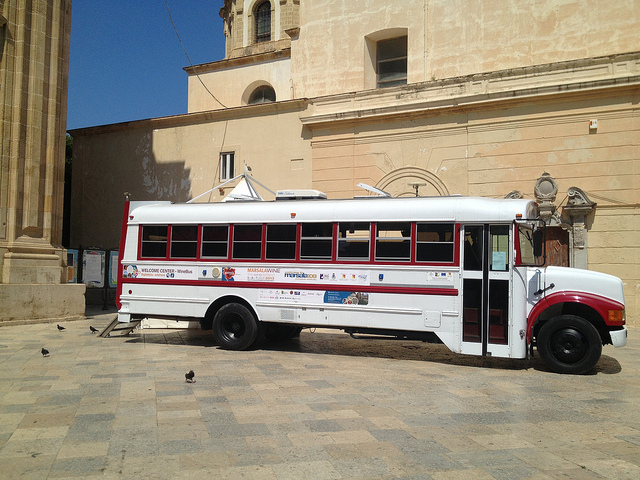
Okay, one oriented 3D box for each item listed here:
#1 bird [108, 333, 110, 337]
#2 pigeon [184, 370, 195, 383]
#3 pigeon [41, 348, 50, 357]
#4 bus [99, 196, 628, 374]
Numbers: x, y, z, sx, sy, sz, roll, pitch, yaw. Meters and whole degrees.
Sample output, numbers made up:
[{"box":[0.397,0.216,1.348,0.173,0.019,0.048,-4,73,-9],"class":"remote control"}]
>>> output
[{"box":[-5.860,2.646,16.182,0.059,0.110,0.059,2,-9,-21],"class":"bird"},{"box":[-2.507,2.590,11.147,0.170,0.258,0.359,0,4,-16],"class":"pigeon"},{"box":[-6.214,2.532,13.180,0.128,0.180,0.245,-1,4,-25],"class":"pigeon"},{"box":[-0.393,0.758,16.055,15.505,4.865,4.421,-1,-1,20],"class":"bus"}]
